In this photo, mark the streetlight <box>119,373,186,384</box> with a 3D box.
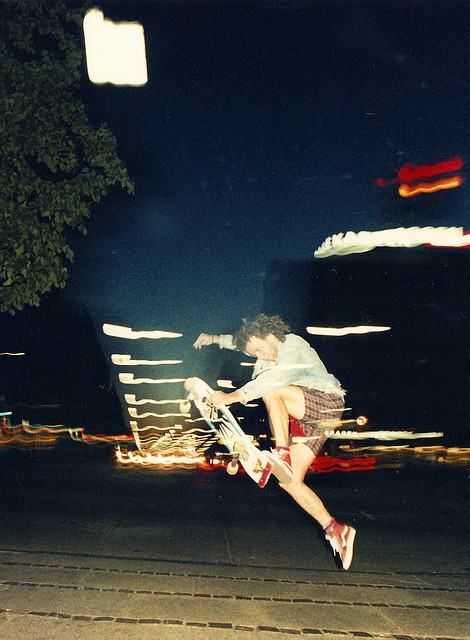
[{"bbox_3d":[-1.009,0.747,7.855,0.729,0.069,0.150,1,33,14],"label":"streetlight"}]
